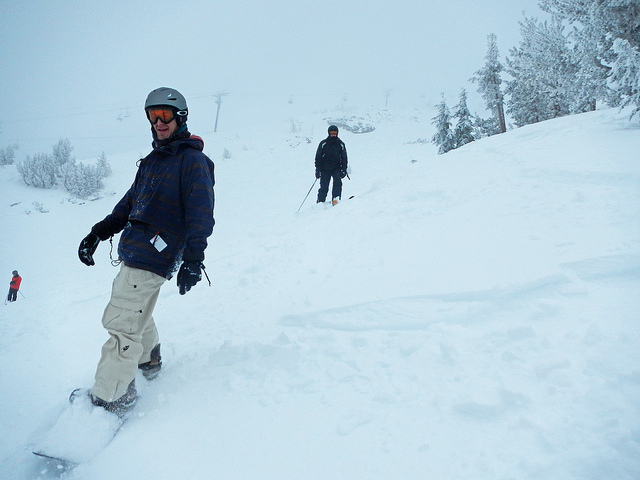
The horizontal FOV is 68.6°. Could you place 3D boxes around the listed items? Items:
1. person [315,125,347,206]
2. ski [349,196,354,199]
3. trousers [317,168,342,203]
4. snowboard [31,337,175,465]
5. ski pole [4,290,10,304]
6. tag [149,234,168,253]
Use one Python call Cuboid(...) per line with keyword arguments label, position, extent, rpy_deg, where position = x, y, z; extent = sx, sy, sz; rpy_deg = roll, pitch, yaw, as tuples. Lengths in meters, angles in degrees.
Cuboid(label="person", position=(0.178, -1.715, 10.731), extent=(0.706, 1.713, 0.915), rpy_deg=(1, 18, 22))
Cuboid(label="ski", position=(0.655, -0.898, 9.871), extent=(0.056, 0.053, 0.221), rpy_deg=(16, 0, -9))
Cuboid(label="trousers", position=(0.188, -1.262, 10.858), extent=(0.624, 0.752, 0.467), rpy_deg=(5, 20, 34))
Cuboid(label="snowboard", position=(-2.084, 1.574, 4.650), extent=(0.486, 0.668, 1.652), rpy_deg=(26, -2, -4))
Cuboid(label="ski pole", position=(-6.287, 1.149, 9.463), extent=(0.037, 0.240, 0.033), rpy_deg=(32, 5, 10))
Cuboid(label="tag", position=(-1.593, 0.033, 4.621), extent=(0.105, 0.146, 0.011), rpy_deg=(-36, 7, -24))
